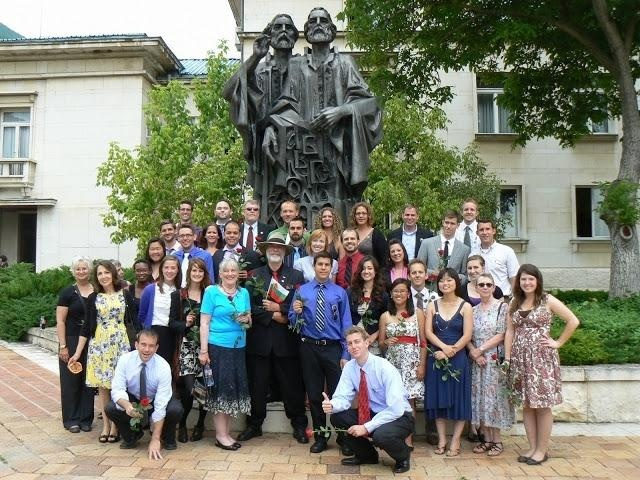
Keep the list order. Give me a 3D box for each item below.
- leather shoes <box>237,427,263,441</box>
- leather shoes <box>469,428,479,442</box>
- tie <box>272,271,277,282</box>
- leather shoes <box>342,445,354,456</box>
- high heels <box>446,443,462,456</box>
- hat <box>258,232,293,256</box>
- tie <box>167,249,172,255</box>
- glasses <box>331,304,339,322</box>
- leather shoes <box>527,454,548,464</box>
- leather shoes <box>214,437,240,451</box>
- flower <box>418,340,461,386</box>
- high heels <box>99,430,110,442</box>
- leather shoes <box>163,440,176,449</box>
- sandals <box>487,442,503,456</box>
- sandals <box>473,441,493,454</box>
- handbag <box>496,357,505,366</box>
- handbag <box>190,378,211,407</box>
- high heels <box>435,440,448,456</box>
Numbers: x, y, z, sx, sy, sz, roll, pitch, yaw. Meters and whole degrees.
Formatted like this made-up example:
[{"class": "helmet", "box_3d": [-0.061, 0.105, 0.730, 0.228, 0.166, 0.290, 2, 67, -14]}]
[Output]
[{"class": "leather shoes", "box_3d": [-1.092, 3.057, 12.318, 0.441, 0.178, 0.144, 5, -7, -35]}, {"class": "leather shoes", "box_3d": [2.506, 3.125, 12.577, 0.158, 0.178, 0.210, -5, -20, 17]}, {"class": "tie", "box_3d": [-0.711, 0.577, 12.521, 0.113, 0.107, 0.037, -8, -30, 2]}, {"class": "leather shoes", "box_3d": [0.430, 3.161, 11.784, 0.151, 0.217, 0.326, -1, -2, -5]}, {"class": "high heels", "box_3d": [2.078, 3.222, 11.983, 0.200, 0.122, 0.378, -2, -3, 32]}, {"class": "hat", "box_3d": [-0.725, 0.015, 12.727, 0.403, 0.170, 0.436, 7, -31, -2]}, {"class": "tie", "box_3d": [-2.599, 0.208, 13.523, 0.094, 0.086, 0.050, -1, -11, 0]}, {"class": "glasses", "box_3d": [0.253, 1.120, 12.136, 0.124, 0.195, 0.072, -3, -3, -24]}, {"class": "leather shoes", "box_3d": [3.265, 3.278, 11.692, 0.352, 0.127, 0.117, 15, -25, -28]}, {"class": "leather shoes", "box_3d": [-1.394, 3.126, 11.994, 0.257, 0.090, 0.178, 1, 0, 12]}, {"class": "flower", "box_3d": [1.925, 1.847, 12.138, 0.346, 0.289, 0.804, -30, -30, 27]}, {"class": "high heels", "box_3d": [-3.387, 3.083, 12.307, 0.179, 0.086, 0.335, 1, -2, -8]}, {"class": "leather shoes", "box_3d": [-2.299, 3.141, 12.021, 0.218, 0.147, 0.160, 0, -2, -6]}, {"class": "sandals", "box_3d": [2.700, 3.189, 11.949, 0.228, 0.163, 0.189, -1, -2, 10]}, {"class": "sandals", "box_3d": [2.527, 3.192, 12.070, 0.305, 0.113, 0.127, 1, -1, -20]}, {"class": "handbag", "box_3d": [2.813, 1.866, 12.065, 0.081, 0.108, 0.107, 18, 3, -35]}, {"class": "handbag", "box_3d": [-1.829, 2.329, 12.071, 0.198, 0.449, 0.495, -2, -2, -28]}, {"class": "high heels", "box_3d": [1.893, 3.192, 12.054, 0.194, 0.147, 0.311, -1, -2, 8]}]
